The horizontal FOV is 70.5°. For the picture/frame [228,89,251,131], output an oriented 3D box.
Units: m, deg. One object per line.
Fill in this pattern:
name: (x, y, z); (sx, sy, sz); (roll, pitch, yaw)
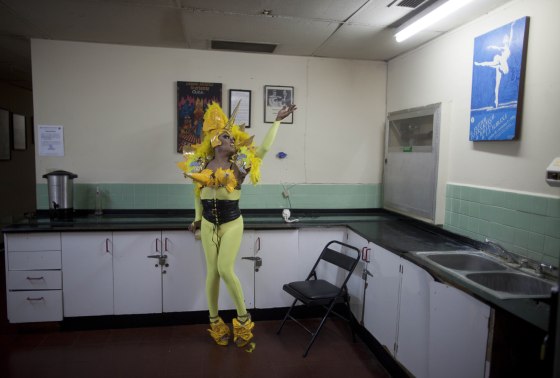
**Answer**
picture/frame: (-0.482, -0.988, 4.831); (0.260, 0.411, 0.020); (5, 12, 9)

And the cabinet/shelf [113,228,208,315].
cabinet/shelf: (-1.445, 0.908, 4.411); (0.378, 0.919, 1.078); (-14, -18, 29)

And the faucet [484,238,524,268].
faucet: (1.952, 0.555, 3.445); (0.081, 0.100, 0.302); (-4, 26, -14)

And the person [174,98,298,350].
person: (-0.566, 0.352, 3.951); (0.755, 2.406, 0.483); (-2, 7, -9)
